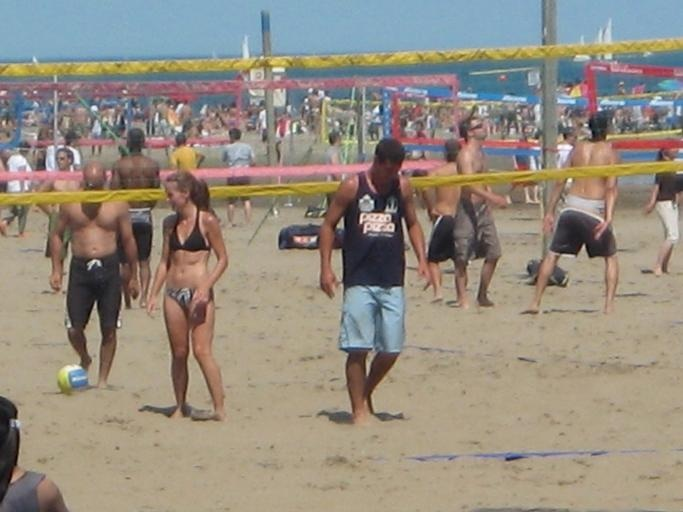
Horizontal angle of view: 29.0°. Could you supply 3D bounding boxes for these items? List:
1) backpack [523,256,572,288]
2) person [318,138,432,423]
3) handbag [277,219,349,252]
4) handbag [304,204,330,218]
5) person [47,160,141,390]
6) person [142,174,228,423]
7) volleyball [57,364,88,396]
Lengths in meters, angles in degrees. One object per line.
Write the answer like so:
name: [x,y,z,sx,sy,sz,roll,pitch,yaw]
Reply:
backpack: [1.913,0.163,12.599,0.257,0.136,0.323,-7,9,-26]
person: [0.224,0.190,9.959,0.816,2.145,0.438,0,10,-8]
handbag: [-0.302,-0.158,11.161,0.434,0.160,0.244,1,-1,-18]
handbag: [-0.260,-0.392,12.328,0.187,0.060,0.139,10,38,-4]
person: [-2.005,0.306,10.735,0.699,1.506,0.464,0,10,-9]
person: [-1.175,0.311,10.010,0.571,1.865,0.420,1,10,-6]
volleyball: [-2.123,0.981,10.442,0.224,0.217,0.230,0,10,-11]
